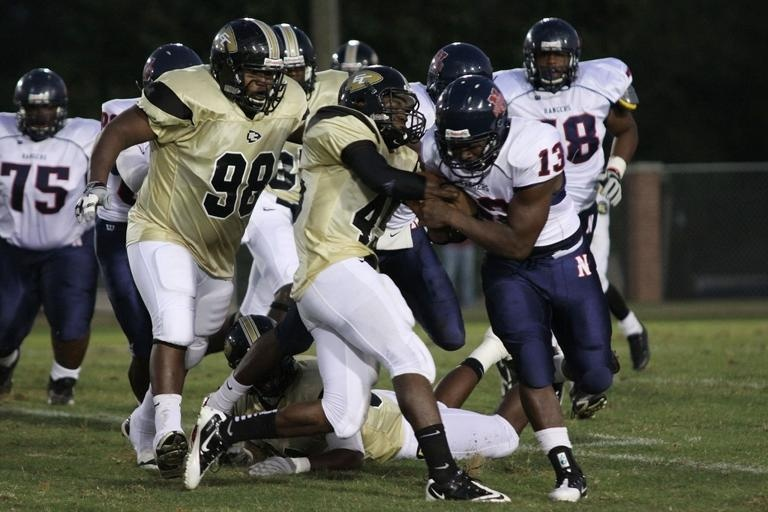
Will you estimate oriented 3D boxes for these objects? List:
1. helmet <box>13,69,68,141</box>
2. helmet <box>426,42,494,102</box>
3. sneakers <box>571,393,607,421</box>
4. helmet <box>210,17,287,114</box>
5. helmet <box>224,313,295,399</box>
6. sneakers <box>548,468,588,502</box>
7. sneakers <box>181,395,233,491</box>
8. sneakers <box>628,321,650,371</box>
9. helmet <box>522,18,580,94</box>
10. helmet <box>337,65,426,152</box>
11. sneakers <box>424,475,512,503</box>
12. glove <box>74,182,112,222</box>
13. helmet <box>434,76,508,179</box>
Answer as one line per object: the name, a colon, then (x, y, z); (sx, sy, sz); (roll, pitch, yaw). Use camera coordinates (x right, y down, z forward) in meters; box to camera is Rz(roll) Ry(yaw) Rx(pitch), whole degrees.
helmet: (-2.694, -1.135, 8.480); (0.420, 0.477, 0.539); (-1, -2, -14)
helmet: (0.583, -1.378, 8.161); (0.509, 0.427, 0.398); (-2, 13, 8)
sneakers: (1.523, 1.063, 7.847); (0.133, 0.168, 0.352); (31, -29, -20)
helmet: (-0.896, -1.226, 6.948); (0.554, 0.551, 0.450); (21, 18, 28)
helmet: (-0.808, 0.653, 7.185); (0.583, 0.525, 0.439); (4, -1, -41)
sneakers: (1.093, 1.328, 6.409); (0.170, 0.173, 0.466); (-6, 2, 25)
sneakers: (-1.073, 1.110, 6.560); (0.251, 0.514, 0.182); (9, -13, 12)
sneakers: (2.146, 0.731, 9.216); (0.193, 0.414, 0.145); (10, -25, -20)
helmet: (1.284, -1.554, 8.210); (0.458, 0.474, 0.525); (-5, 12, -9)
helmet: (-0.023, -0.965, 6.678); (0.583, 0.416, 0.452); (9, 8, 25)
sneakers: (0.491, 1.341, 6.338); (0.504, 0.154, 0.170); (-1, -5, 3)
glove: (-1.787, -0.345, 6.672); (0.104, 0.154, 0.266); (12, 45, 7)
helmet: (0.547, -0.829, 6.620); (0.466, 0.523, 0.619); (1, 37, 21)
